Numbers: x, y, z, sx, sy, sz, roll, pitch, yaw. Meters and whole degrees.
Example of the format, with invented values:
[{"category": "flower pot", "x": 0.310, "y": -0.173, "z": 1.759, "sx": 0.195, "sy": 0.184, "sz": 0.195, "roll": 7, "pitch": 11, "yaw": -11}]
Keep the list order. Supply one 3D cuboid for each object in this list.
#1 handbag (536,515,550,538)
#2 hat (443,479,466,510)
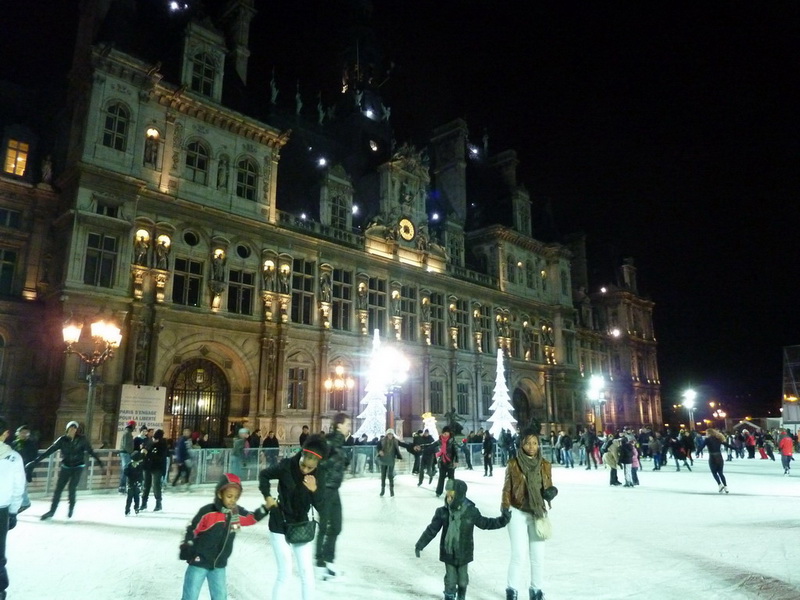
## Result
[{"category": "handbag", "x": 2.277, "y": 3.635, "z": 9.185, "sx": 0.302, "sy": 0.384, "sz": 0.147, "roll": 6, "pitch": -22, "yaw": -12}, {"category": "hat", "x": 0.871, "y": 3.037, "z": 9.002, "sx": 0.331, "sy": 0.435, "sz": 0.383, "roll": 1, "pitch": -15, "yaw": 2}]
